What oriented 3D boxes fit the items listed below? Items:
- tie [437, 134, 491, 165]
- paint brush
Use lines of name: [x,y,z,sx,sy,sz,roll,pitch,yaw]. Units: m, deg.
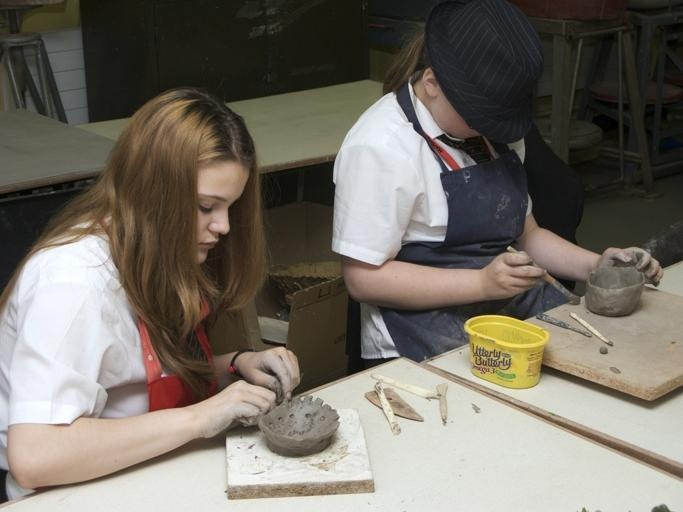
tie: [0.466,-0.400,2.300,0.141,0.052,0.142,32,26,27]
paint brush: [0.758,0.071,2.280,0.305,0.070,0.034,40,45,-15]
